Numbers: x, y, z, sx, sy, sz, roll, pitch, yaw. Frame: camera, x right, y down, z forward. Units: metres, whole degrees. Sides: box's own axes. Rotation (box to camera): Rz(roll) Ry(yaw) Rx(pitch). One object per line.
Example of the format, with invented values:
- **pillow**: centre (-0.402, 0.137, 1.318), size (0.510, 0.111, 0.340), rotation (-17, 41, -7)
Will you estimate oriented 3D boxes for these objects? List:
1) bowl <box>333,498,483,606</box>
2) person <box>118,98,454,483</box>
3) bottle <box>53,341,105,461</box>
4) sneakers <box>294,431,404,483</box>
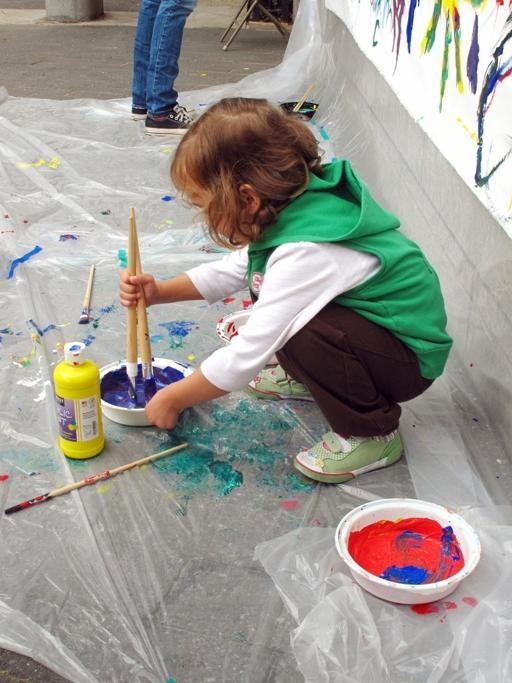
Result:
- **bowl**: centre (0.257, 0.347, 1.097), size (0.244, 0.066, 0.220), rotation (-8, 28, -16)
- **person**: centre (0.106, -0.098, 1.300), size (0.572, 0.723, 0.362), rotation (8, 32, 14)
- **bottle**: centre (-0.360, 0.119, 1.300), size (0.099, 0.255, 0.105), rotation (0, 31, 0)
- **sneakers**: centre (0.196, 0.236, 1.380), size (0.250, 0.104, 0.081), rotation (-8, 46, -6)
